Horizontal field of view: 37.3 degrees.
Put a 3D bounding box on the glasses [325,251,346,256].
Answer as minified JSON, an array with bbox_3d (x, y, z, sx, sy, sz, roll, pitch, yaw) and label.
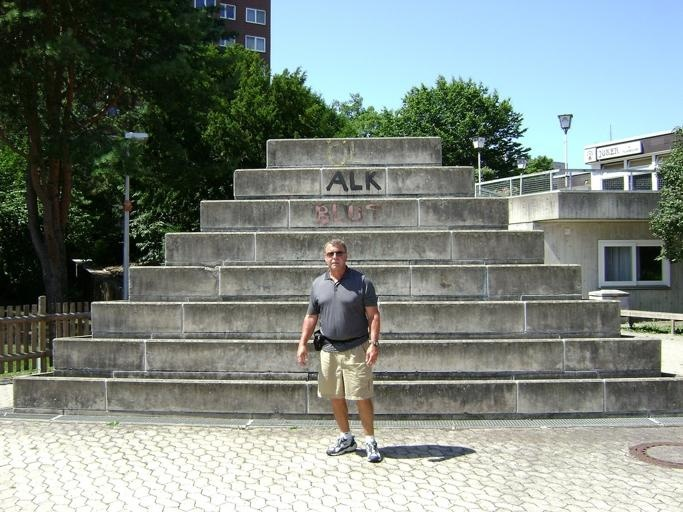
[{"bbox_3d":[-0.103,-0.048,17.243,0.309,0.080,0.069,-1,0,1],"label":"glasses"}]
